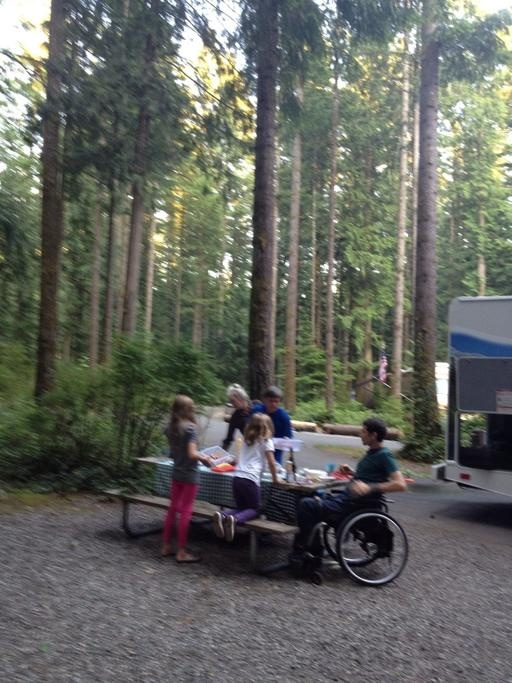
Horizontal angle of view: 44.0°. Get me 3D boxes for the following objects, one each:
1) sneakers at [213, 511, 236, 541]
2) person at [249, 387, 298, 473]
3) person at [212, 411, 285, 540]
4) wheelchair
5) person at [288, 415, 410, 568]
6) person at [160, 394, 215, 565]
[{"bbox_3d":[-0.256,1.661,5.748,0.136,0.297,0.136,-14,-7,36],"label":"sneakers"},{"bbox_3d":[0.136,1.155,6.904,0.600,1.259,0.433,2,-5,-8],"label":"person"},{"bbox_3d":[-0.068,1.243,5.955,0.607,0.799,0.473,6,-3,-19],"label":"person"},{"bbox_3d":[0.746,1.660,6.073,1.309,0.951,0.799,7,-4,-19],"label":"wheelchair"},{"bbox_3d":[0.853,1.409,5.925,0.966,1.355,0.680,5,-4,2],"label":"person"},{"bbox_3d":[-0.662,1.304,6.069,0.434,1.163,0.712,6,-3,-6],"label":"person"}]
